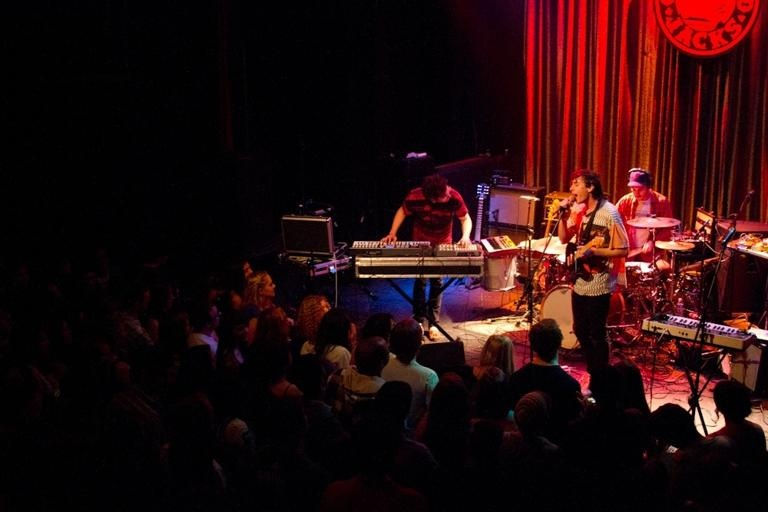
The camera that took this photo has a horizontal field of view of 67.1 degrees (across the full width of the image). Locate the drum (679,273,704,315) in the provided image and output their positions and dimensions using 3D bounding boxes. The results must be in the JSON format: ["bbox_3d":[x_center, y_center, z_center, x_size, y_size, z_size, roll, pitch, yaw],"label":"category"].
[{"bbox_3d":[3.724,0.449,7.000,0.177,0.528,0.392,4,-1,-9],"label":"drum"}]

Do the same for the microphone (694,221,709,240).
[{"bbox_3d":[4.142,-0.335,7.506,0.127,0.214,0.068,11,-4,42],"label":"microphone"}]

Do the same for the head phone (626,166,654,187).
[{"bbox_3d":[3.591,-1.117,8.062,0.260,0.193,0.354,4,1,38],"label":"head phone"}]

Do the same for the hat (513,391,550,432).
[{"bbox_3d":[0.980,1.032,3.870,0.185,0.239,0.262,0,-4,25],"label":"hat"}]

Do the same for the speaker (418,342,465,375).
[{"bbox_3d":[0.562,0.910,5.271,0.279,0.184,0.287,0,2,-11],"label":"speaker"}]

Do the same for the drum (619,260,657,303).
[{"bbox_3d":[3.214,0.289,7.264,0.410,0.491,0.532,-7,-22,41],"label":"drum"}]

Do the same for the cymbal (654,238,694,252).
[{"bbox_3d":[3.520,-0.132,7.002,0.245,0.055,0.254,9,22,33],"label":"cymbal"}]
